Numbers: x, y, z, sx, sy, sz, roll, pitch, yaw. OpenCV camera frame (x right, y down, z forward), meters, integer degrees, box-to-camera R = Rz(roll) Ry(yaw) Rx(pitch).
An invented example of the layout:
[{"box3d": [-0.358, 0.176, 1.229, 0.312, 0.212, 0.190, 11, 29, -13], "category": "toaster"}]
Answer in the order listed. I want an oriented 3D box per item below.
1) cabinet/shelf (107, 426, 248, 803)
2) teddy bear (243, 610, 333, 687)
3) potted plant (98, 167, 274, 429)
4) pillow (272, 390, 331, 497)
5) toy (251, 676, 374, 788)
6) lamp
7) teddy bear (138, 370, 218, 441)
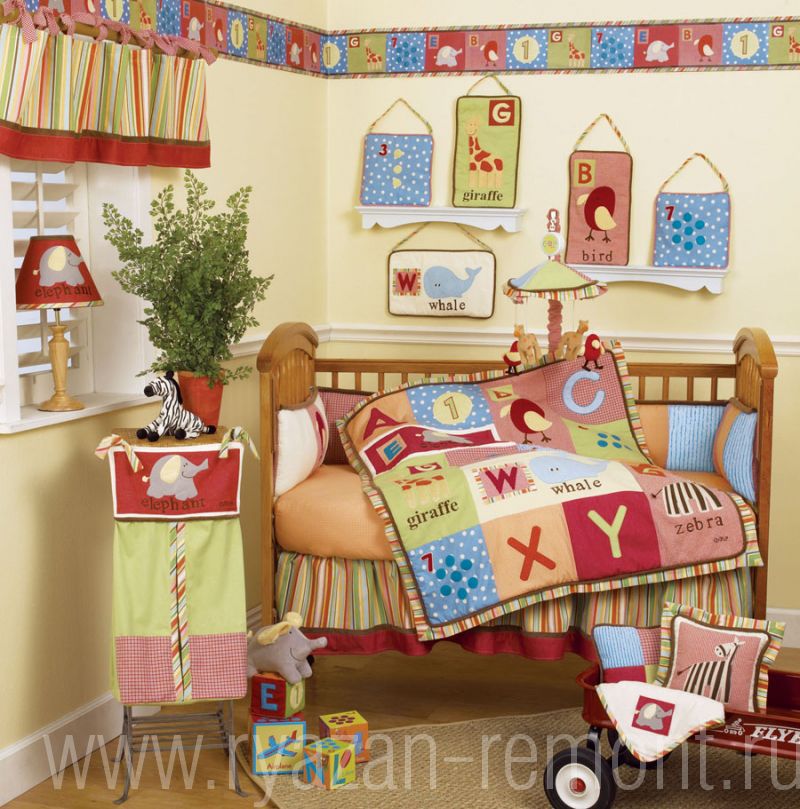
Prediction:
[{"box3d": [-0.513, 0.460, 1.923, 0.324, 0.821, 0.371, 0, 3, -12], "category": "cabinet/shelf"}, {"box3d": [-0.278, 0.598, 2.009, 0.183, 0.135, 0.141, -1, -3, 20], "category": "teddy bear"}, {"box3d": [-0.538, -0.296, 2.053, 0.394, 0.706, 0.587, -1, 3, -20], "category": "potted plant"}, {"box3d": [-0.280, 0.112, 2.257, 0.060, 0.175, 0.274, -1, 9, 11], "category": "pillow"}, {"box3d": [-0.206, 0.736, 1.946, 0.224, 0.232, 0.240, 2, -2, -25], "category": "toy"}, {"box3d": [-0.763, -0.180, 1.848, 0.164, 0.396, 0.237, 0, 3, -8], "category": "lamp"}, {"box3d": [-0.503, 0.008, 1.851, 0.074, 0.151, 0.191, 2, -6, 44], "category": "teddy bear"}]
